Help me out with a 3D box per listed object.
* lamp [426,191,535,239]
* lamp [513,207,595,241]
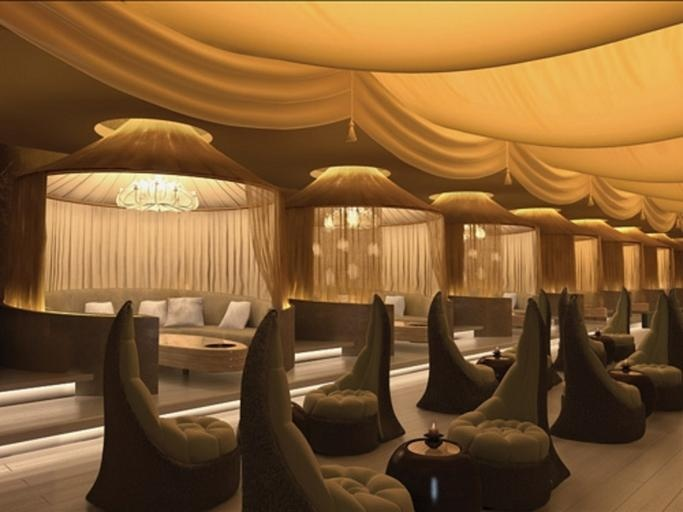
[{"bbox_3d":[2.846,-1.005,11.153,1.947,0.784,1.058,-1,-2,19],"label":"lamp"},{"bbox_3d":[5.422,-0.899,13.735,1.344,0.330,1.397,4,-3,35],"label":"lamp"}]
